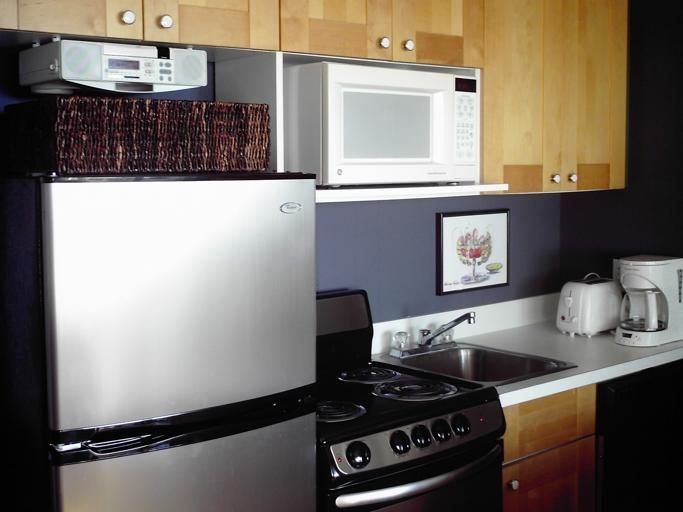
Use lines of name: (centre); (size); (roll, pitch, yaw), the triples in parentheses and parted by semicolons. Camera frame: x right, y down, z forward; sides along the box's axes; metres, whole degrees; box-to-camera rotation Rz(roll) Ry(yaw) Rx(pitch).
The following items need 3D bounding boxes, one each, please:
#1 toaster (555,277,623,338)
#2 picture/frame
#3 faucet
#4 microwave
toaster: (1.331, 0.263, 2.984); (0.356, 0.294, 0.227); (-5, 9, -35)
picture/frame: (0.699, -0.032, 2.924); (0.535, 0.416, 0.033); (-6, 7, -34)
faucet: (0.380, 0.339, 2.656); (0.397, 0.239, 0.328); (-2, 9, -38)
microwave: (0.175, -0.484, 2.078); (0.789, 0.410, 0.196); (-6, 7, -29)
